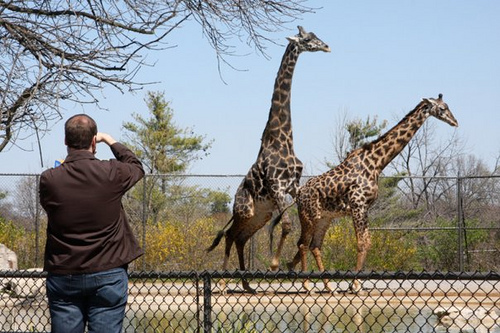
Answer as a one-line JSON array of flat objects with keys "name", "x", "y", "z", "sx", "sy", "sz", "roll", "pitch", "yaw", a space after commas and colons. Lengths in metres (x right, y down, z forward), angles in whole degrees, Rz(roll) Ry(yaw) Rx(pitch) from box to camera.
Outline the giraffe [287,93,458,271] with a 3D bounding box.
[{"name": "giraffe", "x": 2.239, "y": 0.346, "z": 17.103, "sx": 2.764, "sy": 3.412, "sz": 1.203, "roll": 0, "pitch": -5, "yaw": 3}]
